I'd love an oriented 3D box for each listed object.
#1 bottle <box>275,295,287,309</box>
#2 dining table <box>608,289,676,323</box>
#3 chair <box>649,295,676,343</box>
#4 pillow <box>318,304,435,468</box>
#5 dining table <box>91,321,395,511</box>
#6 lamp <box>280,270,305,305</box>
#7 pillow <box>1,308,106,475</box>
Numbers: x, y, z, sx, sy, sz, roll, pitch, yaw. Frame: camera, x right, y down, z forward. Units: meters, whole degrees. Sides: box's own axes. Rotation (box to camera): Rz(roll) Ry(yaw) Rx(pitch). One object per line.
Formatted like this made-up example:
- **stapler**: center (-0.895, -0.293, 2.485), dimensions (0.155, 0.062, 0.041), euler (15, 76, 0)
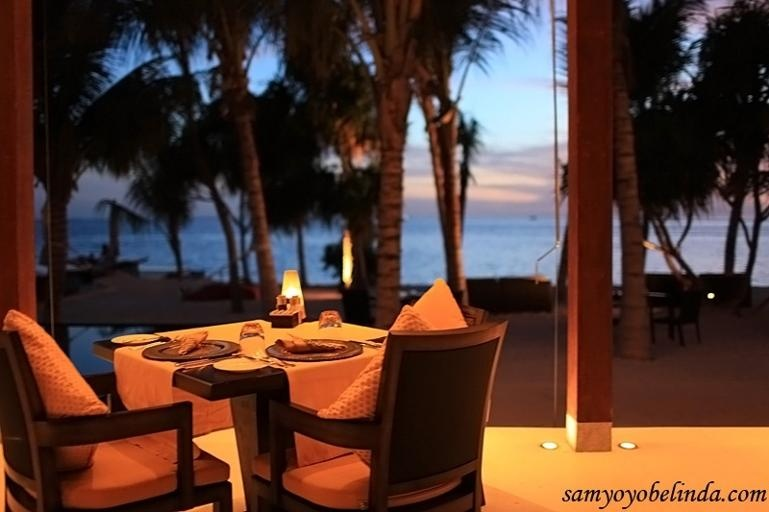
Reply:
- **bottle**: center (-0.730, 0.331, 4.925), dimensions (0.082, 0.123, 0.084), euler (0, -4, 0)
- **dining table**: center (2.301, 0.456, 6.213), dimensions (0.386, 0.253, 0.525), euler (-30, 21, -24)
- **chair**: center (2.496, 0.549, 6.171), dimensions (0.255, 0.397, 0.257), euler (-3, -4, 43)
- **pillow**: center (-0.047, 0.708, 3.747), dimensions (0.638, 0.790, 0.292), euler (-4, 13, -21)
- **dining table**: center (-0.793, 0.807, 4.454), dimensions (1.425, 1.406, 1.451), euler (4, 8, 30)
- **lamp**: center (-0.672, 0.228, 5.032), dimensions (0.202, 0.271, 0.207), euler (-1, 1, 35)
- **pillow**: center (-1.952, 0.790, 4.036), dimensions (0.360, 0.748, 0.935), euler (-4, 32, -43)
